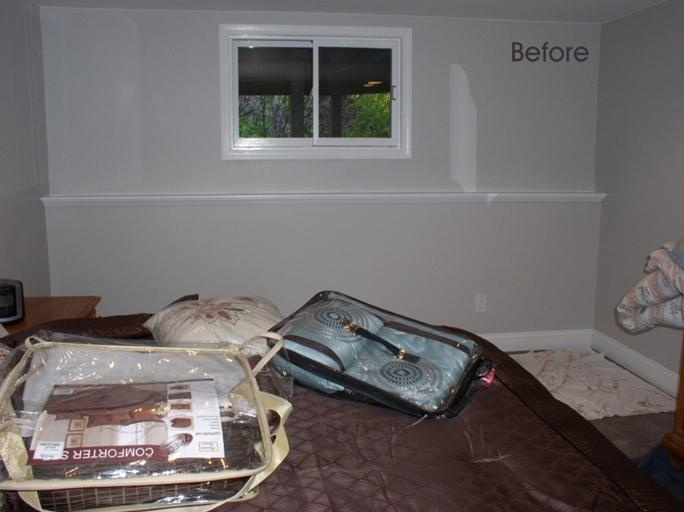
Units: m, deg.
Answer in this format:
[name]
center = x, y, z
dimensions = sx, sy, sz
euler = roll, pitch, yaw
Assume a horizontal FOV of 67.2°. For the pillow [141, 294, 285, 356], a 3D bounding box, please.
[pillow]
center = -0.514, 0.254, 1.988
dimensions = 0.313, 0.080, 0.287
euler = 2, 14, 8
